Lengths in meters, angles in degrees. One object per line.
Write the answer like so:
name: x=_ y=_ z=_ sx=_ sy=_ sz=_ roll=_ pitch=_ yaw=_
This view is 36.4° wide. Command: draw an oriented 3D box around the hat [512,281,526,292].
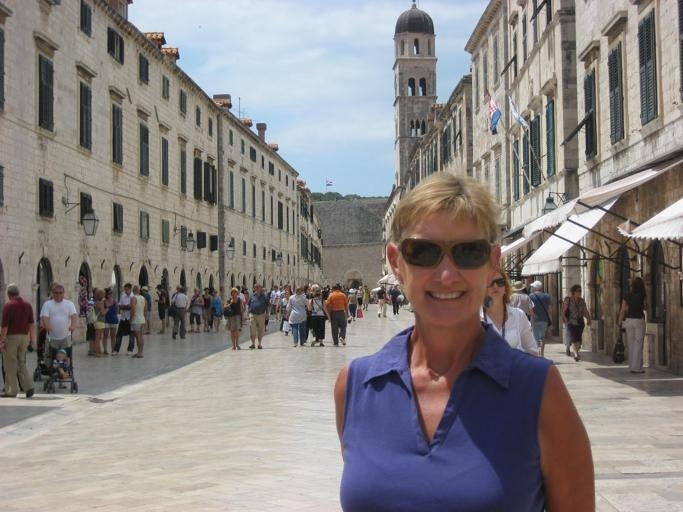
hat: x=3.612 y=0.636 z=21.157 sx=0.233 sy=0.105 sz=0.273 roll=-18 pitch=7 yaw=21

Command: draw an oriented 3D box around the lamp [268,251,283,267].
lamp: x=-3.999 y=0.207 z=62.008 sx=0.760 sy=1.346 sz=0.620 roll=-6 pitch=-6 yaw=43

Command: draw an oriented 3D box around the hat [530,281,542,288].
hat: x=4.905 y=0.736 z=26.163 sx=0.190 sy=0.166 sz=0.292 roll=4 pitch=3 yaw=2

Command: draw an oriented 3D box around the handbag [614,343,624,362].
handbag: x=6.335 y=2.206 z=23.629 sx=0.240 sy=0.469 sz=0.135 roll=-1 pitch=2 yaw=-11

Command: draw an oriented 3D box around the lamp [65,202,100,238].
lamp: x=-7.321 y=-1.140 z=29.211 sx=0.743 sy=1.486 sz=0.460 roll=-3 pitch=-30 yaw=-22
